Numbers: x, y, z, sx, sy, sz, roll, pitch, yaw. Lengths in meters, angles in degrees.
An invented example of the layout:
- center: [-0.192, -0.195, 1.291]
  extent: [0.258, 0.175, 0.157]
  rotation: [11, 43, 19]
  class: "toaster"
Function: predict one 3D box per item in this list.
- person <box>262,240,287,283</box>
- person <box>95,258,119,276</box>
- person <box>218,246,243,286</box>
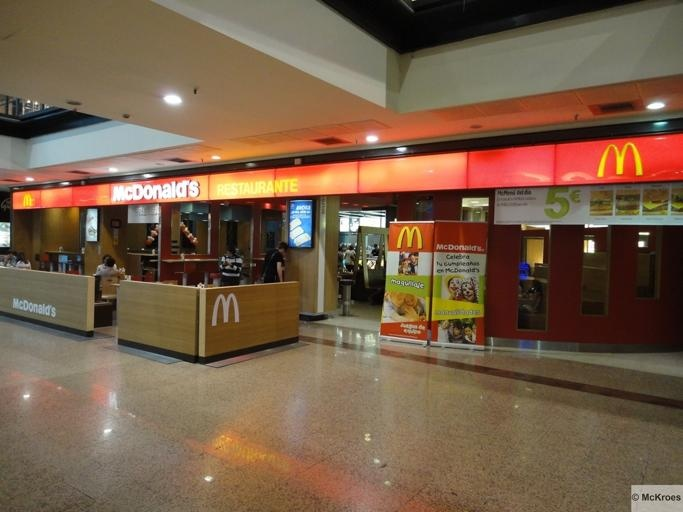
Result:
- center: [-1.389, 0.123, 10.017]
  extent: [0.461, 0.773, 0.710]
  rotation: [0, 8, -8]
  class: "person"
- center: [-4.885, 0.193, 10.091]
  extent: [0.395, 0.381, 0.743]
  rotation: [-2, 8, -23]
  class: "person"
- center: [-2.278, 0.249, 9.909]
  extent: [0.423, 0.903, 1.873]
  rotation: [0, 8, -13]
  class: "person"
